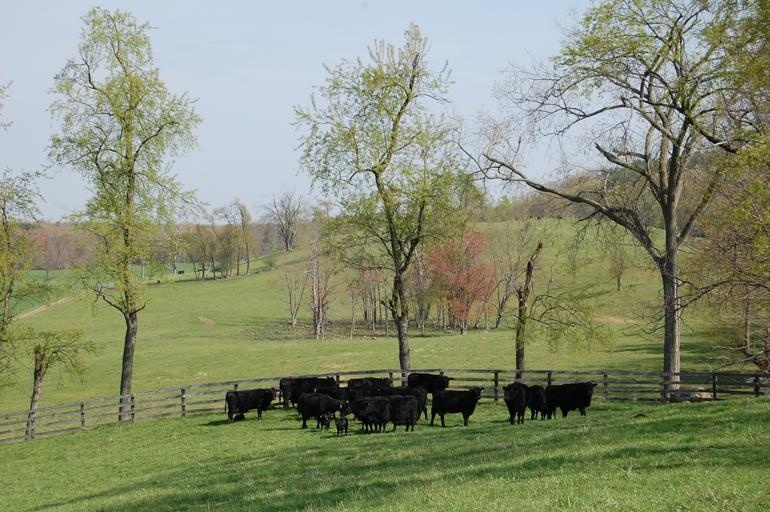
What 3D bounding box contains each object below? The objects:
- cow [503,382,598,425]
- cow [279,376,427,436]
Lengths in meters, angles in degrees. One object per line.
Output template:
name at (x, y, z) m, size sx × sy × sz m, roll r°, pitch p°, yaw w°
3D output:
cow at (9.837, 8.029, 67.083) m, size 7.624 × 2.874 × 3.777 m, roll 1°, pitch -15°, yaw 15°
cow at (-0.354, 8.872, 66.702) m, size 11.976 × 2.899 × 5.316 m, roll 2°, pitch -15°, yaw -5°
